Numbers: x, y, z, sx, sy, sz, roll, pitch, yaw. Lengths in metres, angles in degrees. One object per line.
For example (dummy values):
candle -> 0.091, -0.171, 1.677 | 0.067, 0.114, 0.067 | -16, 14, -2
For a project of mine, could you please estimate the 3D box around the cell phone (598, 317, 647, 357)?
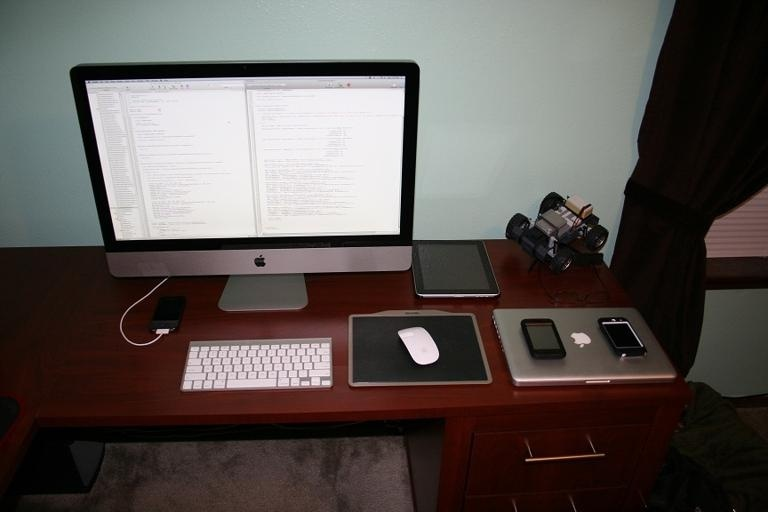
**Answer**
cell phone -> 0.740, 0.252, 1.706 | 0.099, 0.018, 0.167 | -1, 32, 0

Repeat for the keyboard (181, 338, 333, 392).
keyboard -> -0.375, 0.329, 1.647 | 0.432, 0.059, 0.149 | -1, 33, -1

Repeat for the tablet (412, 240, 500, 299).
tablet -> 0.241, 0.041, 1.935 | 0.218, 0.042, 0.214 | -1, 36, -1

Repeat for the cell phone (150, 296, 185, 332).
cell phone -> -0.696, 0.182, 1.766 | 0.092, 0.017, 0.154 | -1, 43, -4

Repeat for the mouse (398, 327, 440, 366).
mouse -> 0.115, 0.274, 1.684 | 0.093, 0.051, 0.131 | -16, 36, -22

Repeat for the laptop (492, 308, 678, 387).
laptop -> 0.613, 0.270, 1.703 | 0.507, 0.092, 0.267 | -2, 33, -2

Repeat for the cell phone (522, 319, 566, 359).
cell phone -> 0.491, 0.254, 1.695 | 0.107, 0.015, 0.146 | -1, 41, -3

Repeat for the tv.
tv -> -0.400, -0.232, 1.754 | 1.028, 0.771, 0.286 | -2, 21, -2
